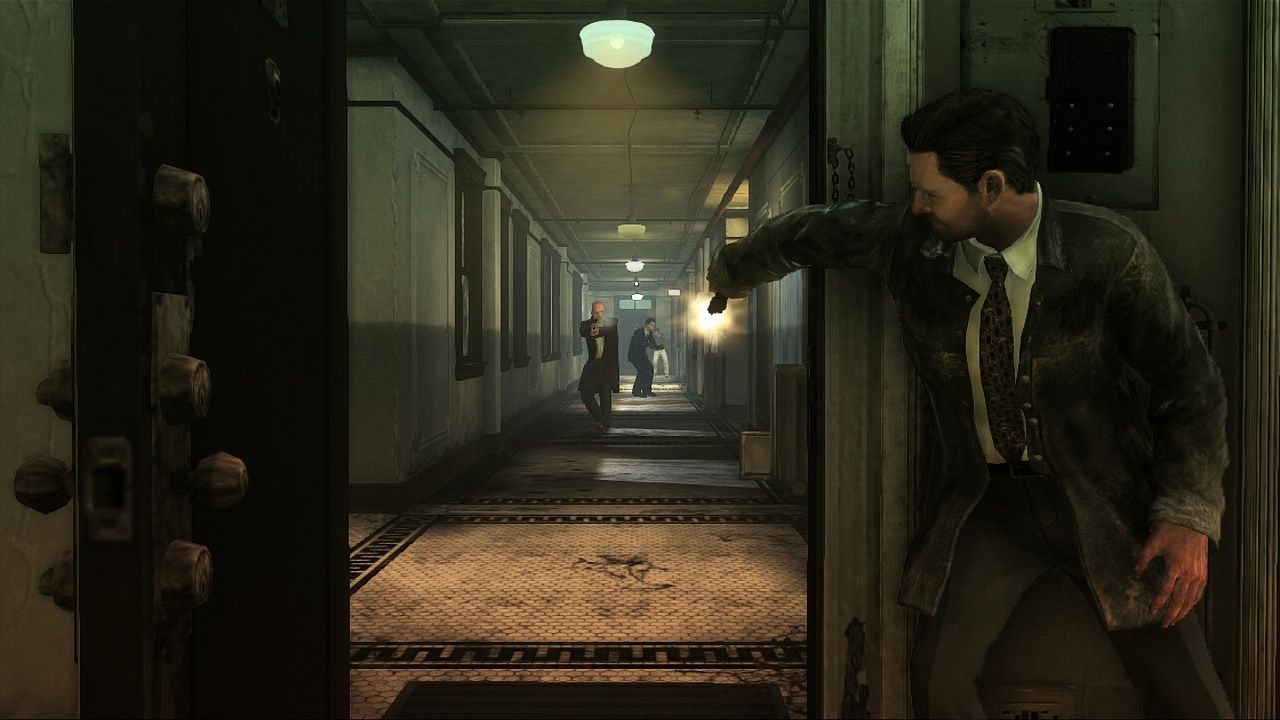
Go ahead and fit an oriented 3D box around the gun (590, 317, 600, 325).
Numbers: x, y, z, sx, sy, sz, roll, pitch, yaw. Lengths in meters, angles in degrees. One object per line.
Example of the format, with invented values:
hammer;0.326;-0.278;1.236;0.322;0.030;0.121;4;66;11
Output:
gun;-0.567;-0.504;12.566;0.102;0.090;0.057;-6;7;-10

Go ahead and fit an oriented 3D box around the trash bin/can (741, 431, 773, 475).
trash bin/can;0.895;0.717;8.006;0.290;0.369;0.376;-1;-4;-2

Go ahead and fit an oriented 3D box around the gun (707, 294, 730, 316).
gun;0.266;-0.189;3.562;0.068;0.085;0.021;-4;-17;-20
